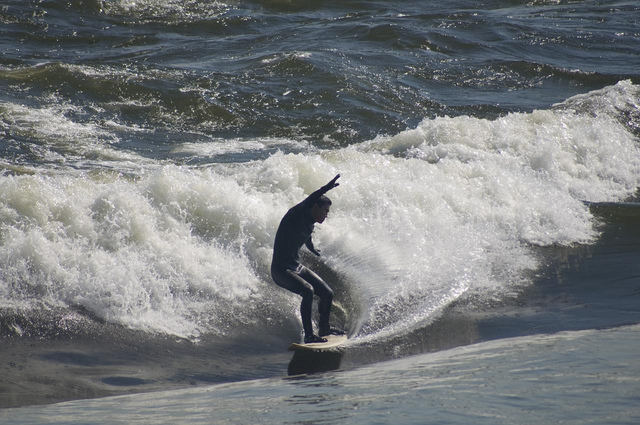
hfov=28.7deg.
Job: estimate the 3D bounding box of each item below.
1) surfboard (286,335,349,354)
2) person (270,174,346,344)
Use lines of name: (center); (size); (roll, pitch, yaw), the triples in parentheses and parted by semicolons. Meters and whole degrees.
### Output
surfboard: (0.112, 2.949, 27.450); (1.027, 0.136, 0.494); (-7, 21, -31)
person: (-0.320, 1.023, 27.499); (1.257, 3.523, 1.511); (-4, 26, -21)
